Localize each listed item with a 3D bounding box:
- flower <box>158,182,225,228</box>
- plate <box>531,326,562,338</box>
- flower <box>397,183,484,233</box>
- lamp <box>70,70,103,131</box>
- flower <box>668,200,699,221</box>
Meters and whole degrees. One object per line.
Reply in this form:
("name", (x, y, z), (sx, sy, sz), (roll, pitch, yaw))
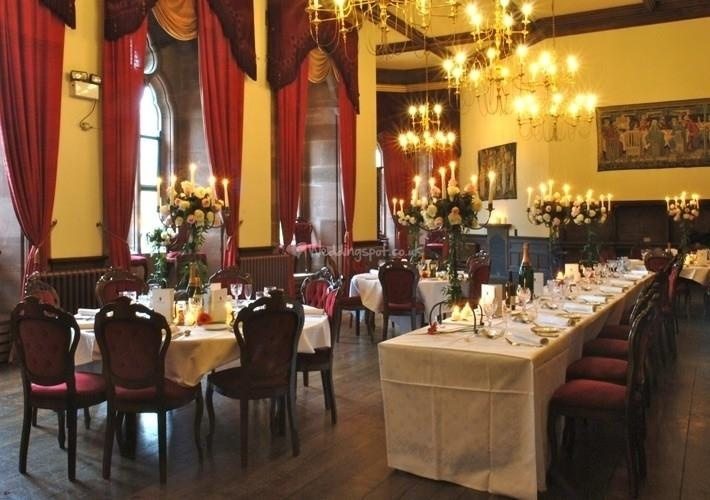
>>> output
("flower", (-1.616, -0.524, 6.133), (0.365, 0.418, 0.409), (-6, -8, 38))
("plate", (1.717, 0.721, 5.325), (0.290, 0.038, 0.190), (-2, 11, -11))
("flower", (1.073, -0.425, 6.238), (0.437, 0.358, 0.564), (18, -13, -22))
("lamp", (-3.657, -2.007, 8.196), (0.377, 0.780, 0.113), (4, -10, -38))
("flower", (7.011, -0.828, 12.812), (0.540, 0.623, 0.523), (-3, 1, 38))
